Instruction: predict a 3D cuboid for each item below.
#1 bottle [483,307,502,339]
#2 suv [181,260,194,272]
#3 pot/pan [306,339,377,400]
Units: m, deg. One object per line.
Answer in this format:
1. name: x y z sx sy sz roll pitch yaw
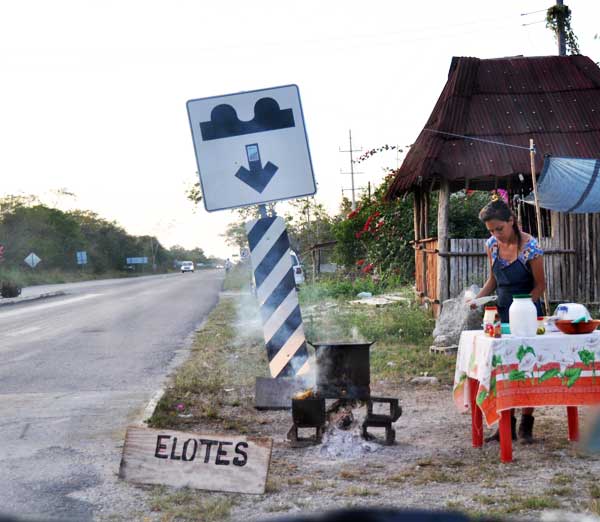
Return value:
1. bottle: 1.652 0.516 5.675 0.173 0.344 0.191 0 -6 -8
2. suv: -17.364 0.749 100.484 1.364 1.308 2.370 -1 -5 -5
3. pot/pan: 0.450 0.998 6.742 0.613 0.707 0.548 -1 -2 2
